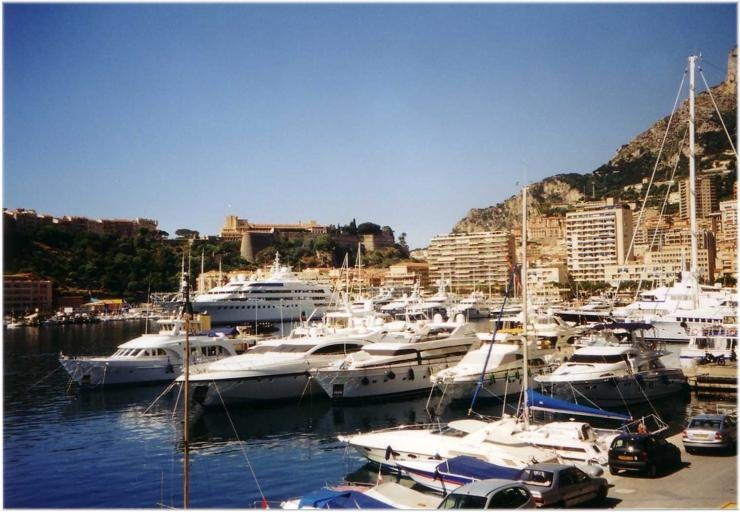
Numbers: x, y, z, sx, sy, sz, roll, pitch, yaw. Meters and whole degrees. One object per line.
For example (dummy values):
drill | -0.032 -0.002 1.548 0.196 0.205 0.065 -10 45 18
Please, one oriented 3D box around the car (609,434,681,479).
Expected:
car | 11.450 8.075 31.216 2.679 1.093 1.546 -3 0 -44

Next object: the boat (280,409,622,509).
boat | 4.273 8.305 31.216 10.960 2.877 5.564 -1 -6 4

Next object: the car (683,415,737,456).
car | 14.722 7.680 32.661 2.417 1.535 0.959 0 -6 -11
